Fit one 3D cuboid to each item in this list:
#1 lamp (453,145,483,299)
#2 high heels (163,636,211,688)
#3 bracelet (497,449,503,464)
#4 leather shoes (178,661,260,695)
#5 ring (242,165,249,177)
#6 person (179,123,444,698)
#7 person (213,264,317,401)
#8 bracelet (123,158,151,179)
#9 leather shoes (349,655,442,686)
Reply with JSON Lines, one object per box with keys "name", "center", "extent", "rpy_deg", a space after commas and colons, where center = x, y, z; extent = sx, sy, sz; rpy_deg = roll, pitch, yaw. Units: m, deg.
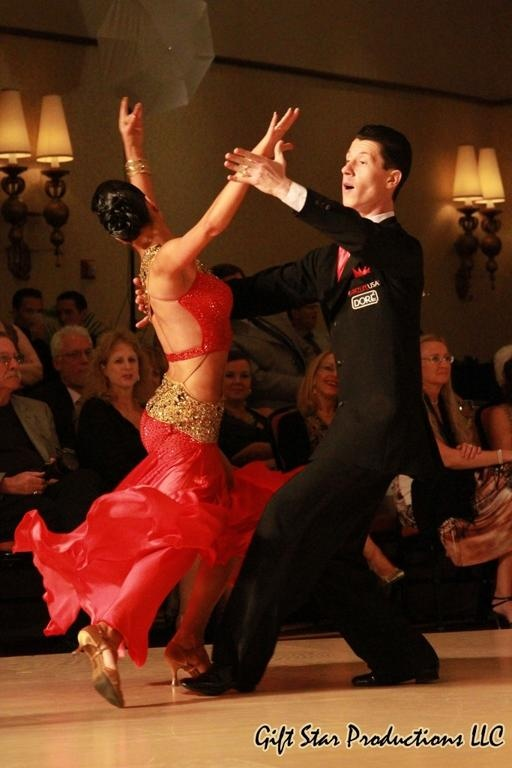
{"name": "lamp", "center": [1.714, -1.284, 5.781], "extent": [0.291, 1.088, 0.120], "rpy_deg": [2, 1, -18]}
{"name": "high heels", "center": [-0.184, 0.727, 1.895], "extent": [0.073, 0.103, 0.215], "rpy_deg": [-1, -3, 33]}
{"name": "bracelet", "center": [1.088, 0.325, 3.187], "extent": [0.015, 0.044, 0.050], "rpy_deg": [2, 0, -2]}
{"name": "leather shoes", "center": [-0.101, 0.707, 1.746], "extent": [0.223, 0.074, 0.074], "rpy_deg": [2, -10, -7]}
{"name": "ring", "center": [-0.022, -0.450, 1.520], "extent": [0.008, 0.017, 0.019], "rpy_deg": [9, 4, -3]}
{"name": "person", "center": [0.122, 0.148, 1.714], "extent": [0.598, 1.065, 0.599], "rpy_deg": [2, 1, 18]}
{"name": "person", "center": [0.033, -0.180, 3.122], "extent": [0.305, 0.426, 0.882], "rpy_deg": [-14, -7, 12]}
{"name": "bracelet", "center": [-0.359, -0.631, 2.106], "extent": [0.072, 0.044, 0.064], "rpy_deg": [-3, 3, -7]}
{"name": "leather shoes", "center": [0.366, 0.755, 1.883], "extent": [0.248, 0.085, 0.076], "rpy_deg": [3, -6, 1]}
